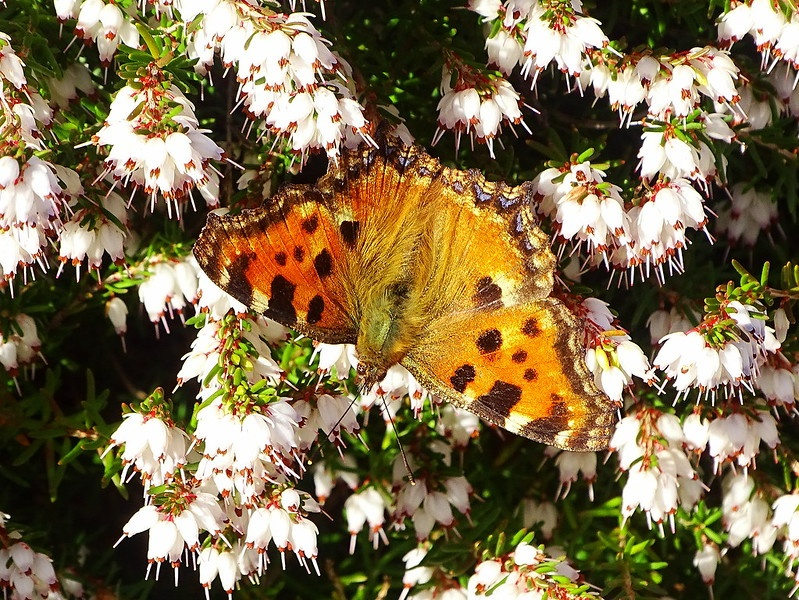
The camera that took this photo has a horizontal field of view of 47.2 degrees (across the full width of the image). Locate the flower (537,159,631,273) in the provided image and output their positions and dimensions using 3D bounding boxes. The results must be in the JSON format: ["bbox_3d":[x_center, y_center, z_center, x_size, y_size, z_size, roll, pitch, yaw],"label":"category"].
[{"bbox_3d":[0.679,-0.350,3.371,0.252,0.227,0.400,-18,64,-17],"label":"flower"}]

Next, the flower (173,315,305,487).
[{"bbox_3d":[-0.599,0.370,3.271,0.446,0.216,0.699,-8,71,-38],"label":"flower"}]

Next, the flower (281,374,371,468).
[{"bbox_3d":[-0.293,0.483,3.523,0.262,0.148,0.328,6,76,-18],"label":"flower"}]
